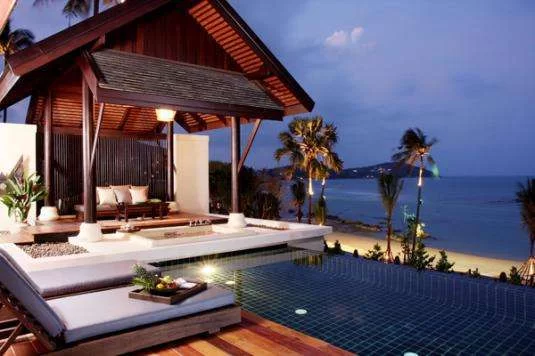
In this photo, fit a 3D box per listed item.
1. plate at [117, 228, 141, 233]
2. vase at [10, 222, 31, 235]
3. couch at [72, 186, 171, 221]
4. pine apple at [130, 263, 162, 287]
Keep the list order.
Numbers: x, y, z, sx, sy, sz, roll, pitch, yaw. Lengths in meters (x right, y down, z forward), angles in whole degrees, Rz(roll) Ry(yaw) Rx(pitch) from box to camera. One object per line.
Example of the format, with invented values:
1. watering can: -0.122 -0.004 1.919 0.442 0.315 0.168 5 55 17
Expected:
1. plate: -3.457 1.273 8.930 0.542 0.116 0.425 2 -2 -18
2. vase: -6.507 1.273 9.486 0.412 0.312 0.375 5 2 41
3. couch: -4.255 0.718 10.724 3.177 0.994 1.262 1 5 -38
4. pine apple: -1.742 1.362 5.090 0.442 0.237 0.208 8 -22 27
